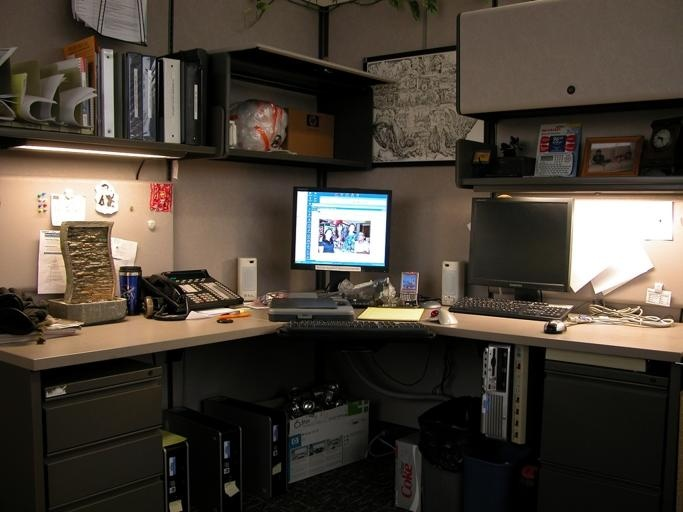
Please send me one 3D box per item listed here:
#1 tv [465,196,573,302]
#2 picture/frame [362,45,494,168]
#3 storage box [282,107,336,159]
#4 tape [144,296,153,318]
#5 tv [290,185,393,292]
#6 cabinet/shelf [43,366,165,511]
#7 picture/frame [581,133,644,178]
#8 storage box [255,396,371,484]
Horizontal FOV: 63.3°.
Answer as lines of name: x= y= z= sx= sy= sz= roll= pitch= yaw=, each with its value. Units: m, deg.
tv: x=0.875 y=-0.041 z=2.662 sx=0.491 sy=0.444 sz=0.036 roll=2 pitch=1 yaw=26
picture/frame: x=0.444 y=-0.821 z=3.079 sx=0.754 sy=0.634 sz=0.031 roll=-12 pitch=15 yaw=-28
storage box: x=-0.184 y=-0.679 z=3.095 sx=0.197 sy=0.276 sz=0.371 roll=-2 pitch=-1 yaw=38
tape: x=-0.839 y=0.226 z=2.424 sx=0.021 sy=0.076 sz=0.073 roll=1 pitch=-8 yaw=-27
tv: x=0.019 y=-0.111 z=2.961 sx=0.594 sy=0.526 sz=0.056 roll=2 pitch=1 yaw=1
cabinet/shelf: x=-0.834 y=0.542 z=2.047 sx=0.338 sy=0.509 sz=0.520 roll=-2 pitch=-2 yaw=43
picture/frame: x=1.246 y=-0.450 z=2.516 sx=0.235 sy=0.217 sz=0.024 roll=1 pitch=-12 yaw=24
storage box: x=-0.122 y=0.779 z=2.906 sx=0.322 sy=0.382 sz=0.609 roll=-1 pitch=1 yaw=44
